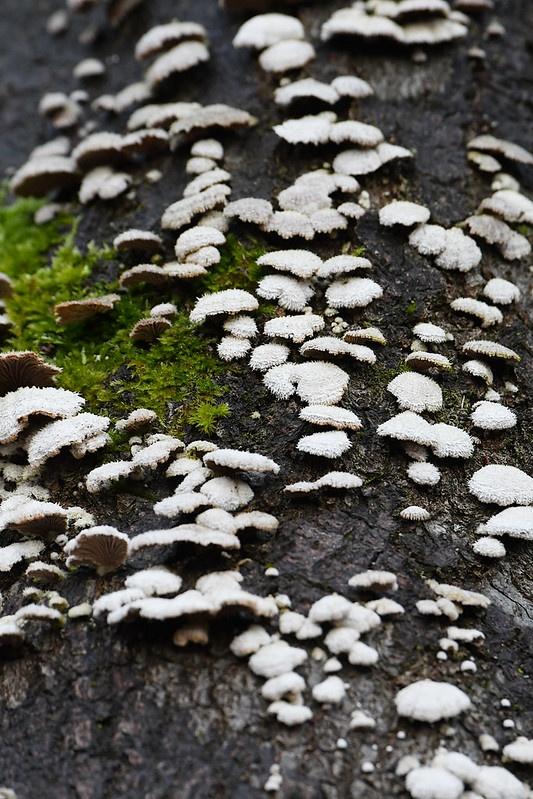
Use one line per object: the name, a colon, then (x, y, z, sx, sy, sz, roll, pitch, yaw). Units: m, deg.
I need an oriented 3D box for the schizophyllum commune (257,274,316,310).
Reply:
schizophyllum commune: (0.168, -0.903, 7.728, 0.374, 0.088, 0.328, 13, 41, -1)

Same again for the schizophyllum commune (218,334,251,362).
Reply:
schizophyllum commune: (-0.264, -0.416, 7.603, 0.256, 0.154, 0.196, -1, 41, 17)

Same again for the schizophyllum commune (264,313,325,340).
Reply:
schizophyllum commune: (0.243, -0.595, 7.484, 0.305, 0.072, 0.279, -19, 33, -14)

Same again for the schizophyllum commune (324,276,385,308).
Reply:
schizophyllum commune: (0.714, -0.889, 7.709, 0.435, 0.093, 0.321, -1, 39, 16)
